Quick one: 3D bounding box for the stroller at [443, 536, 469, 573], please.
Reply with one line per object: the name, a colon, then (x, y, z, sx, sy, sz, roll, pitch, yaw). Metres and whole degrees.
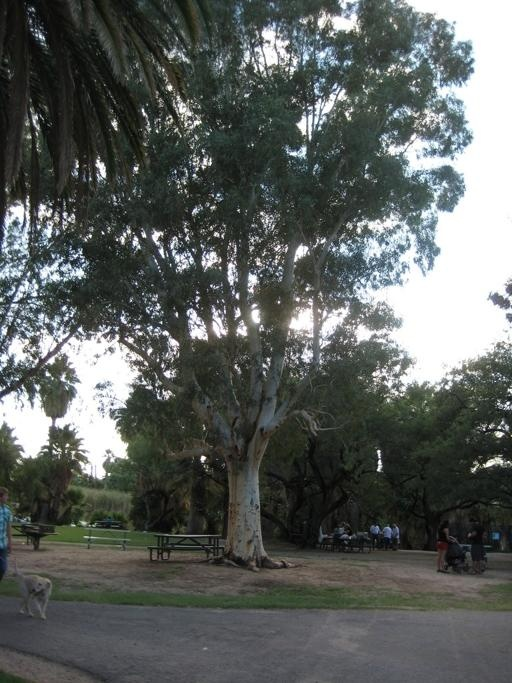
stroller: (6.861, 7.388, 23.716, 0.589, 1.047, 1.586, 0, -7, 6)

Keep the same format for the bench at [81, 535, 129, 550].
bench: (-6.777, 9.085, 31.218, 1.855, 0.451, 5.836, 5, -18, -12)
